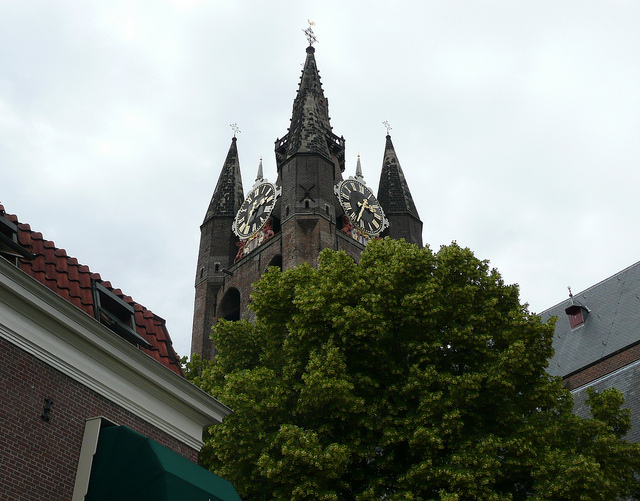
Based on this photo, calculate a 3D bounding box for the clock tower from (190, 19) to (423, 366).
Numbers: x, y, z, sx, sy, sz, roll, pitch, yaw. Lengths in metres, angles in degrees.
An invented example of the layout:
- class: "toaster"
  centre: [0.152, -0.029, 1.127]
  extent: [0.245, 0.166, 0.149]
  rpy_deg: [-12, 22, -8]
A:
- class: "clock tower"
  centre: [-0.499, -2.754, 53.749]
  extent: [11.111, 23.048, 10.778]
  rpy_deg: [7, -32, -12]
